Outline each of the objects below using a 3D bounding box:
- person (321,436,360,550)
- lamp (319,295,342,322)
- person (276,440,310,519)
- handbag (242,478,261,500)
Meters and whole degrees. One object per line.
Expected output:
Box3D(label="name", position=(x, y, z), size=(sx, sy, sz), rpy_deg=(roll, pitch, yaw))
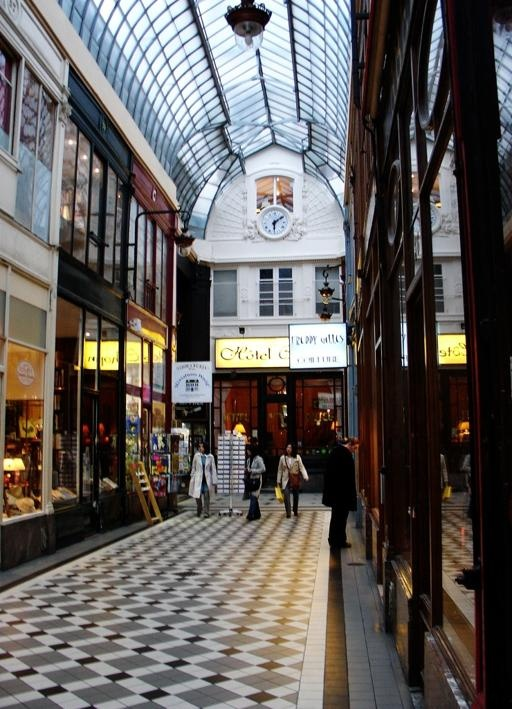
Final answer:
Box3D(label="person", position=(1.589, 2.662, 10.471), size=(0.659, 1.987, 0.661), rpy_deg=(3, -8, -25))
Box3D(label="lamp", position=(3.475, -2.101, 25.388), size=(0.903, 1.607, 0.698), rpy_deg=(0, -11, 1))
Box3D(label="person", position=(0.968, 3.318, 14.477), size=(0.571, 2.066, 0.630), rpy_deg=(-1, 6, 13))
Box3D(label="handbag", position=(-0.122, 3.526, 14.488), size=(0.379, 0.504, 0.641), rpy_deg=(5, -10, -30))
